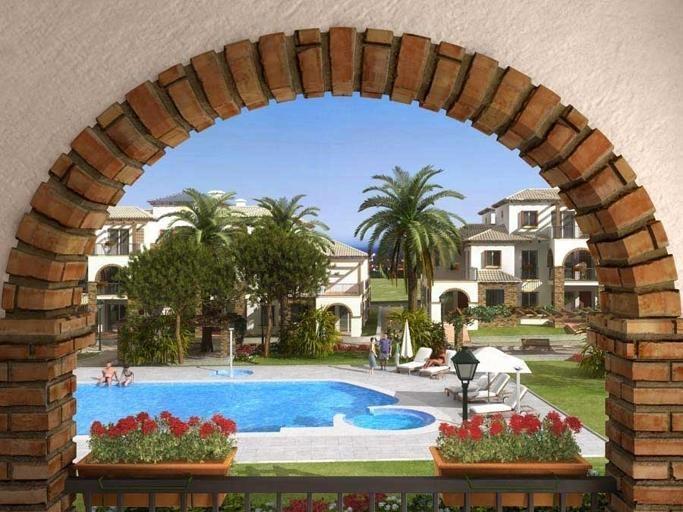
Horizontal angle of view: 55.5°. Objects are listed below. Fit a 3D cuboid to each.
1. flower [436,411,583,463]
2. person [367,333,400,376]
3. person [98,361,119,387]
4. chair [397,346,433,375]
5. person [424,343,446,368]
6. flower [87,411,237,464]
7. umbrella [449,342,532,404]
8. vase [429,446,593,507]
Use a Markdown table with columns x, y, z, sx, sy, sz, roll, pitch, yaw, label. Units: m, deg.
| x | y | z | sx | sy | sz | roll | pitch | yaw | label |
| --- | --- | --- | --- | --- | --- | --- | --- | --- | --- |
| 2.058 | 2.197 | 7.851 | 1.306 | 0.338 | 0.753 | -2 | 0 | -4 | flower |
| 1.534 | 3.525 | 23.117 | 1.201 | 1.787 | 0.598 | 1 | -19 | 1 | person |
| -7.558 | 3.827 | 21.021 | 0.680 | 1.004 | 0.548 | 0 | -13 | 3 | person |
| 2.451 | 3.551 | 22.071 | 0.656 | 0.665 | 1.169 | -3 | -4 | 44 | chair |
| 3.458 | 3.479 | 22.527 | 1.192 | 0.634 | 0.489 | 5 | -9 | -37 | person |
| -2.107 | 2.184 | 7.768 | 0.970 | 0.290 | 0.913 | 1 | -4 | -4 | flower |
| 3.691 | 2.982 | 16.512 | 1.764 | 1.422 | 4.479 | -2 | -7 | 9 | umbrella |
| 1.952 | 2.522 | 7.313 | 1.172 | 0.342 | 0.982 | -1 | -4 | 1 | vase |
